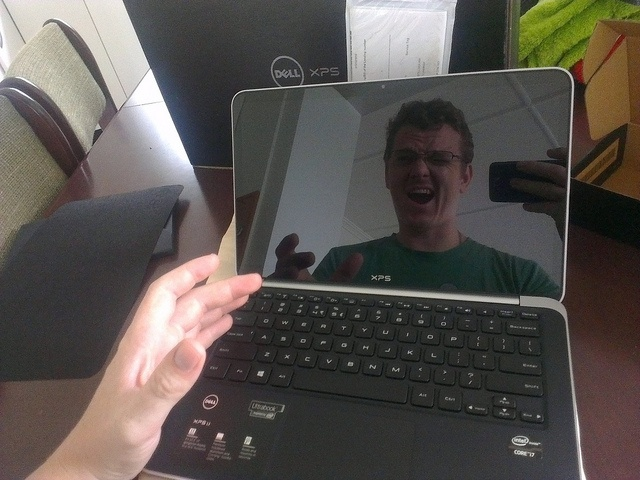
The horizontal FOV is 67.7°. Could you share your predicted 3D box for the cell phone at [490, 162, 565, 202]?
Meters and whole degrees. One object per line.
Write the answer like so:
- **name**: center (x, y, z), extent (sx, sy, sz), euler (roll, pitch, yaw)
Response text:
- **cell phone**: center (0.313, -0.086, 0.722), extent (0.087, 0.056, 0.093), euler (3, 6, 6)
